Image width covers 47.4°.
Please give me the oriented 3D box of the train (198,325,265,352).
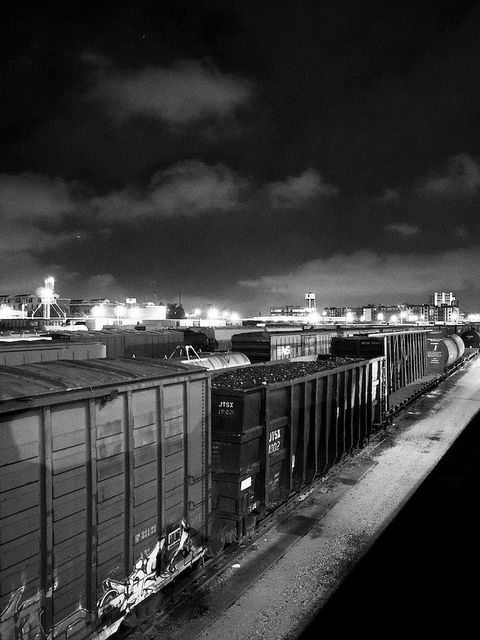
[{"bbox_3d":[-1.275,1.441,50.480,2.033,4.190,12.451,-2,-2,17],"label":"train"}]
